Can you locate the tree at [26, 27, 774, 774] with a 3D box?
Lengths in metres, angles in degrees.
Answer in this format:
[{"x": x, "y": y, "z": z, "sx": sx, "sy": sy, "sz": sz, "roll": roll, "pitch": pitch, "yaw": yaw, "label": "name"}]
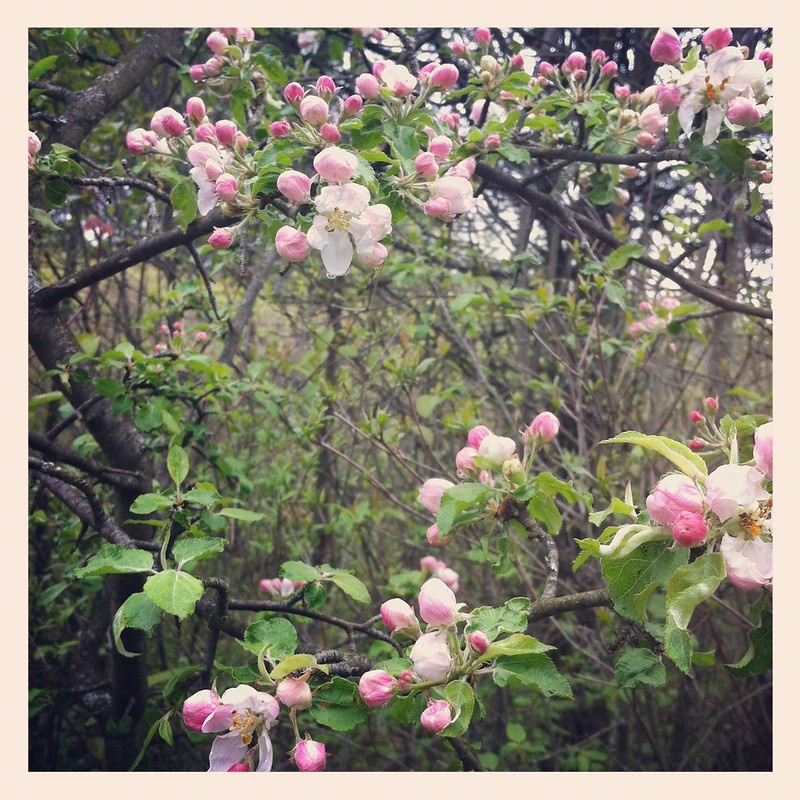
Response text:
[{"x": -0.004, "y": -0.195, "z": 4.708, "sx": 2.337, "sy": 2.624, "sz": 1.848, "roll": -3, "pitch": 3, "yaw": 5, "label": "tree"}]
